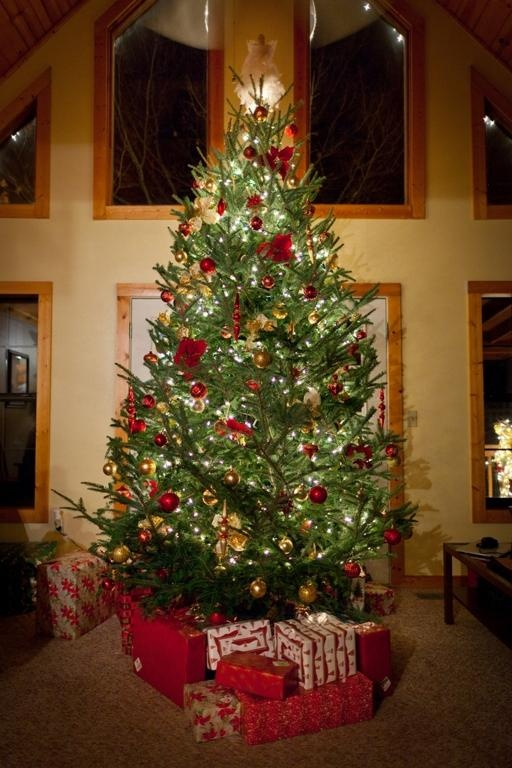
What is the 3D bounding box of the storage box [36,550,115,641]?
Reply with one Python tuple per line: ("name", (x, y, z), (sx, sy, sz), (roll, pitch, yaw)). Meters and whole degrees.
("storage box", (-0.869, 1.018, 3.337), (0.228, 0.325, 0.402), (-3, -4, 13))
